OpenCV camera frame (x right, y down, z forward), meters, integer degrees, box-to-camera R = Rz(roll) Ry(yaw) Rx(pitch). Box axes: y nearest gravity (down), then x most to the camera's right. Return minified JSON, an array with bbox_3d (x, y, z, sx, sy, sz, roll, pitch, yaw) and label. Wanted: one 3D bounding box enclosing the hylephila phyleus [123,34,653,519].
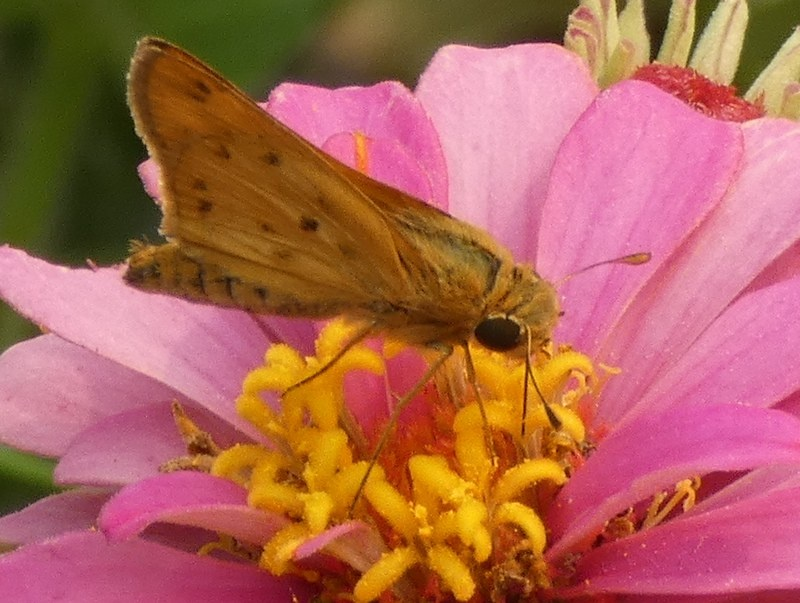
[{"bbox_3d":[-0.029,-0.061,1.246,0.500,0.341,0.392,8,25,1],"label":"hylephila phyleus"}]
